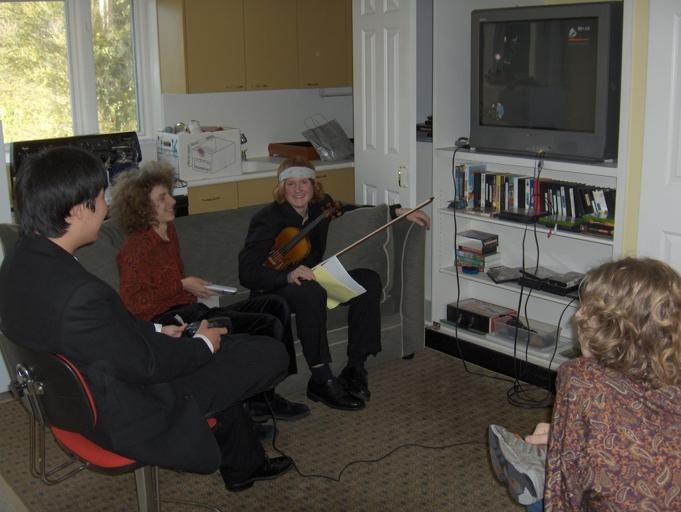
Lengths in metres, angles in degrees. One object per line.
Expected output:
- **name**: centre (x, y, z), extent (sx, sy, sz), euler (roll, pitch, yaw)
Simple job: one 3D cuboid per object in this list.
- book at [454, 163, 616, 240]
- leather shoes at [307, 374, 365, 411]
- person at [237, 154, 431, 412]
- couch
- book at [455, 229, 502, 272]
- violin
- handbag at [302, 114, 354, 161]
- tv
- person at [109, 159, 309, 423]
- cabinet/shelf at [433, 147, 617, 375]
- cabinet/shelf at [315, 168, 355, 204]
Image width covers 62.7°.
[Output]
- **book**: centre (1.154, -0.367, 3.442), extent (0.282, 0.342, 1.064), euler (-18, 22, -41)
- **leather shoes**: centre (-0.036, 0.778, 3.178), extent (0.340, 0.172, 0.151), euler (12, 11, 4)
- **person**: centre (-0.030, 0.096, 3.328), extent (1.066, 1.387, 0.899), euler (-2, 8, 14)
- **couch**: centre (-0.361, 0.178, 2.812), extent (0.937, 0.635, 0.467), euler (-8, 13, -36)
- **book**: centre (0.924, -0.075, 3.886), extent (0.303, 0.310, 0.253), euler (7, 10, 40)
- **violin**: centre (-0.210, -0.109, 3.308), extent (0.527, 0.111, 0.213), euler (-45, 29, -20)
- **handbag**: centre (-0.106, -1.064, 5.161), extent (0.422, 0.348, 0.311), euler (-8, 17, -12)
- **tv**: centre (1.176, -0.994, 3.194), extent (0.817, 0.765, 0.453), euler (15, 25, 40)
- **person**: centre (-0.680, 0.194, 2.854), extent (0.824, 1.354, 0.554), euler (-9, -3, -8)
- **cabinet/shelf**: centre (1.089, 0.026, 3.609), extent (0.413, 1.279, 1.334), euler (-10, 13, -24)
- **cabinet/shelf**: centre (-0.047, -0.641, 5.088), extent (0.445, 0.316, 0.104), euler (-6, 11, -38)
